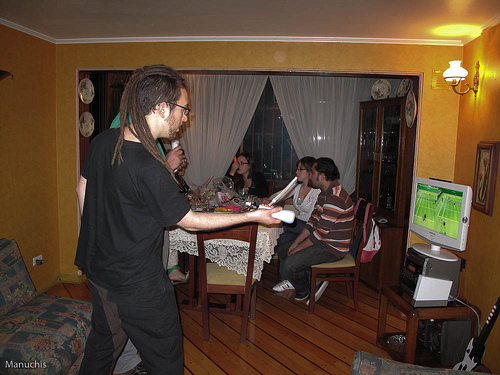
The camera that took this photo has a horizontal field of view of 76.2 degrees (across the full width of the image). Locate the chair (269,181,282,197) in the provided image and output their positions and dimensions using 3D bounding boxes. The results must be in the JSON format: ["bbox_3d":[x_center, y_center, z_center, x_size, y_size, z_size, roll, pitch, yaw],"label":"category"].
[{"bbox_3d":[0.351,0.010,4.680,0.168,0.326,0.179,0,5,-4],"label":"chair"}]

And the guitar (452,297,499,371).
[{"bbox_3d":[1.436,0.943,2.016,0.186,0.598,0.181,3,11,11],"label":"guitar"}]

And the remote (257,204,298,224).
[{"bbox_3d":[0.135,0.114,1.524,0.148,0.039,0.086,13,14,24],"label":"remote"}]

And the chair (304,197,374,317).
[{"bbox_3d":[0.942,0.704,3.405,0.610,1.090,0.596,1,5,9],"label":"chair"}]

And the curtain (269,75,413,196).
[{"bbox_3d":[1.239,-0.788,5.174,2.165,2.349,0.086,6,50,23],"label":"curtain"}]

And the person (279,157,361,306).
[{"bbox_3d":[0.715,0.401,3.341,0.770,1.512,0.614,-3,9,9],"label":"person"}]

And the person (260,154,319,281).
[{"bbox_3d":[0.498,0.364,3.735,0.717,1.394,0.490,-5,18,-11],"label":"person"}]

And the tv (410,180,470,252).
[{"bbox_3d":[1.311,0.186,2.281,0.475,0.458,0.091,13,-4,-13],"label":"tv"}]
